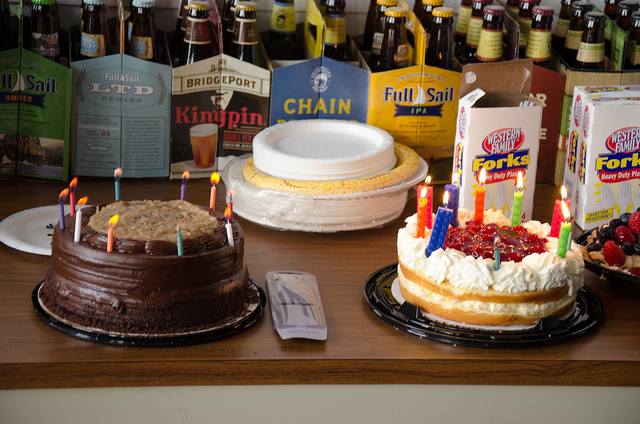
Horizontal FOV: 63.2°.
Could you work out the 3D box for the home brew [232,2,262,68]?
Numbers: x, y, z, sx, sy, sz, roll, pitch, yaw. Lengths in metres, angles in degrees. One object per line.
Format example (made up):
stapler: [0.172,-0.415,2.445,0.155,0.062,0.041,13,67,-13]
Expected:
home brew: [-0.208,-0.497,1.472,0.101,0.215,0.091,-7,53,-16]

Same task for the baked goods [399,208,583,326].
baked goods: [0.343,0.115,1.064,0.361,0.163,0.197,-1,21,-2]

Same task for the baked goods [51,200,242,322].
baked goods: [-0.348,0.101,1.010,0.404,0.194,0.202,-3,21,-7]
